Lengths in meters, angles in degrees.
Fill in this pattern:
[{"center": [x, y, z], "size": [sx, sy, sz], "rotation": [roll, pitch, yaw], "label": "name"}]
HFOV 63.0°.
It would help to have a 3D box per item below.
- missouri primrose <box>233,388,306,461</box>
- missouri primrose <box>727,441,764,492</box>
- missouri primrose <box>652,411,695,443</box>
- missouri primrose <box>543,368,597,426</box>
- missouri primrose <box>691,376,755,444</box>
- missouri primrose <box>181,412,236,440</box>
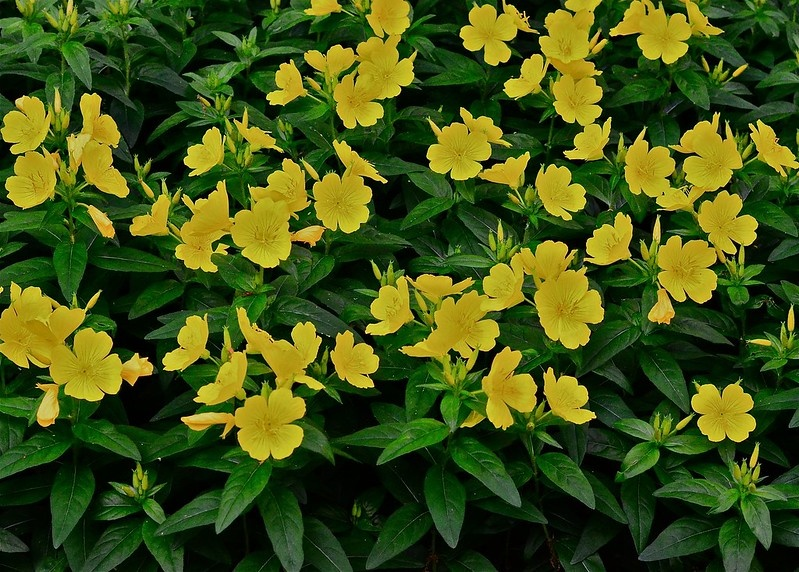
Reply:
[{"center": [-0.561, 0.595, 2.807], "size": [0.308, 0.358, 0.241], "rotation": [13, 34, -17], "label": "missouri primrose"}, {"center": [1.656, 0.863, 3.128], "size": [0.146, 0.225, 0.201], "rotation": [18, 35, 20], "label": "missouri primrose"}, {"center": [1.302, 0.657, 3.162], "size": [0.195, 0.121, 0.137], "rotation": [-7, 31, -23], "label": "missouri primrose"}, {"center": [0.735, 0.529, 2.946], "size": [0.205, 0.115, 0.219], "rotation": [11, 23, 11], "label": "missouri primrose"}, {"center": [1.553, 0.606, 3.158], "size": [0.399, 0.426, 0.112], "rotation": [-12, 58, 6], "label": "missouri primrose"}, {"center": [-0.819, 0.597, 2.815], "size": [0.222, 0.089, 0.118], "rotation": [12, 21, -18], "label": "missouri primrose"}]
